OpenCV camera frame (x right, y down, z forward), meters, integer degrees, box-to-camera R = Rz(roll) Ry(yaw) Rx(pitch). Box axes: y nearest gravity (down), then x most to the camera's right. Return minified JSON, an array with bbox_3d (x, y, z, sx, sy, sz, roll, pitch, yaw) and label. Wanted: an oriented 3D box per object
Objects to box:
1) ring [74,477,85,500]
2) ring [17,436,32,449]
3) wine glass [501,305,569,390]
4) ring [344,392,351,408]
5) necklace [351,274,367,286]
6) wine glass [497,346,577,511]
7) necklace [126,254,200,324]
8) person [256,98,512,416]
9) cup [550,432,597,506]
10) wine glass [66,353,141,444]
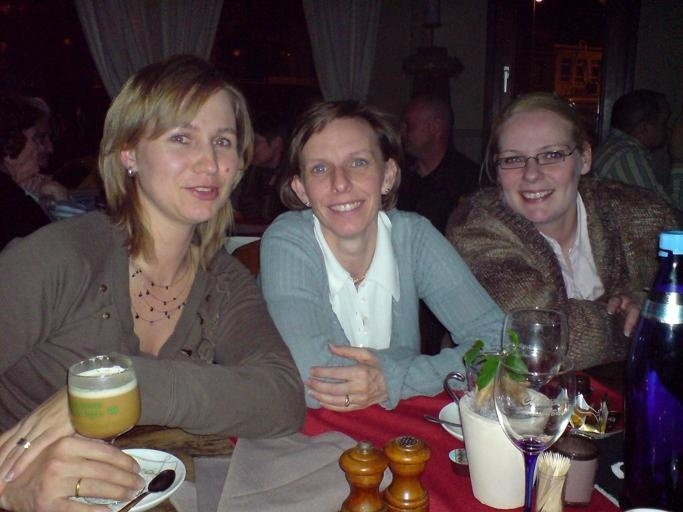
[{"bbox_3d":[-0.609,0.540,1.338,0.020,0.042,0.016,0,14,15],"label":"ring"},{"bbox_3d":[-0.793,0.466,1.438,0.027,0.007,0.027,8,12,-2],"label":"ring"},{"bbox_3d":[0.466,0.217,1.370,0.174,0.266,0.166,-1,10,22],"label":"wine glass"},{"bbox_3d":[0.021,0.437,1.732,0.021,0.010,0.026,3,36,-3],"label":"ring"},{"bbox_3d":[0.076,0.096,2.319,0.047,0.043,0.037,15,12,24],"label":"necklace"},{"bbox_3d":[0.427,0.377,1.280,0.151,0.316,0.122,-12,16,-33],"label":"wine glass"},{"bbox_3d":[-0.659,0.145,2.112,0.224,0.206,0.053,-25,-5,-33],"label":"necklace"},{"bbox_3d":[0.104,0.014,2.133,0.862,1.054,0.838,6,18,36],"label":"person"},{"bbox_3d":[0.515,0.483,1.330,0.133,0.127,0.118,5,14,20],"label":"cup"},{"bbox_3d":[-0.625,0.380,1.515,0.172,0.206,0.223,-10,14,-27],"label":"wine glass"}]
